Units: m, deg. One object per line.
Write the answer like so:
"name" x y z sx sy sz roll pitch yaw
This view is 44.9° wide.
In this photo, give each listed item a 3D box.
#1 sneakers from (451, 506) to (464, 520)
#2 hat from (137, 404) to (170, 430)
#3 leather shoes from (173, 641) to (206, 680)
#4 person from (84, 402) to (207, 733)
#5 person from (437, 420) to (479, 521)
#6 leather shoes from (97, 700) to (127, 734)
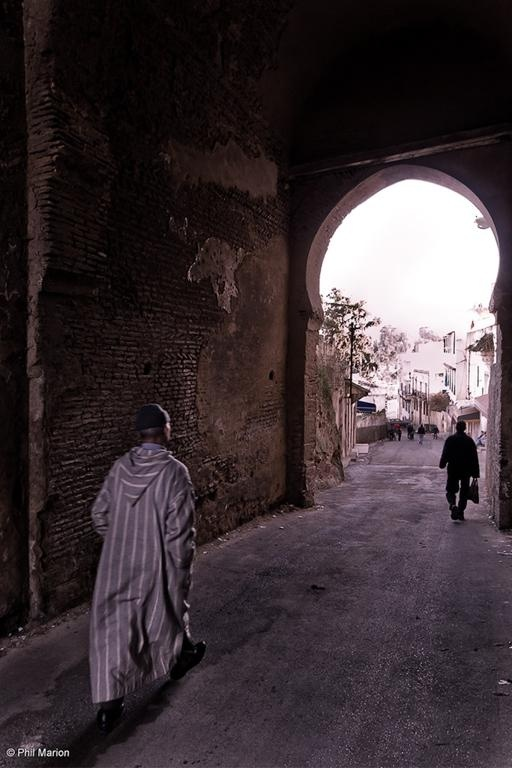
"sneakers" 2.294 1.453 7.037 0.147 0.141 0.201 0 1 10
"hat" -0.519 0.162 3.169 0.096 0.108 0.150 2 14 12
"leather shoes" -0.365 1.485 3.339 0.085 0.199 0.194 25 -37 9
"person" -0.539 0.839 3.133 0.420 1.524 0.798 14 19 30
"person" 2.331 0.967 7.108 0.398 1.129 0.537 0 2 21
"leather shoes" -0.678 1.526 2.901 0.073 0.085 0.174 1 3 5
